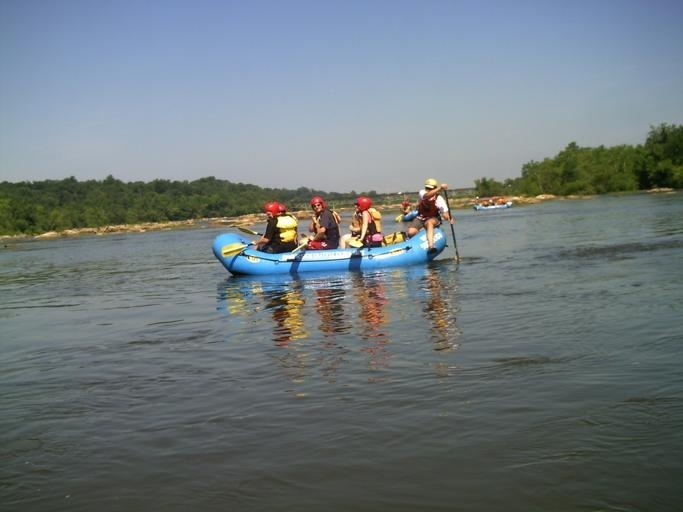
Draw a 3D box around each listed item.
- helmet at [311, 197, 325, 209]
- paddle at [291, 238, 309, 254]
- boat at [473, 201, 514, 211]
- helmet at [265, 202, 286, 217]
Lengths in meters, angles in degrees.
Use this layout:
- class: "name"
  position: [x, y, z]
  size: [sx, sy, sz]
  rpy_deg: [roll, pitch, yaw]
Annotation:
- class: "helmet"
  position: [-0.783, -1.844, 19.539]
  size: [0.430, 0.296, 0.438]
  rpy_deg: [-5, -25, 0]
- class: "paddle"
  position: [-1.359, -0.314, 19.997]
  size: [0.164, 0.590, 0.640]
  rpy_deg: [45, -1, 2]
- class: "boat"
  position: [21.959, -7.157, 84.901]
  size: [3.172, 0.839, 4.356]
  rpy_deg: [-2, 4, -2]
- class: "helmet"
  position: [-2.365, -1.616, 19.734]
  size: [0.775, 0.340, 0.490]
  rpy_deg: [5, 11, 22]
